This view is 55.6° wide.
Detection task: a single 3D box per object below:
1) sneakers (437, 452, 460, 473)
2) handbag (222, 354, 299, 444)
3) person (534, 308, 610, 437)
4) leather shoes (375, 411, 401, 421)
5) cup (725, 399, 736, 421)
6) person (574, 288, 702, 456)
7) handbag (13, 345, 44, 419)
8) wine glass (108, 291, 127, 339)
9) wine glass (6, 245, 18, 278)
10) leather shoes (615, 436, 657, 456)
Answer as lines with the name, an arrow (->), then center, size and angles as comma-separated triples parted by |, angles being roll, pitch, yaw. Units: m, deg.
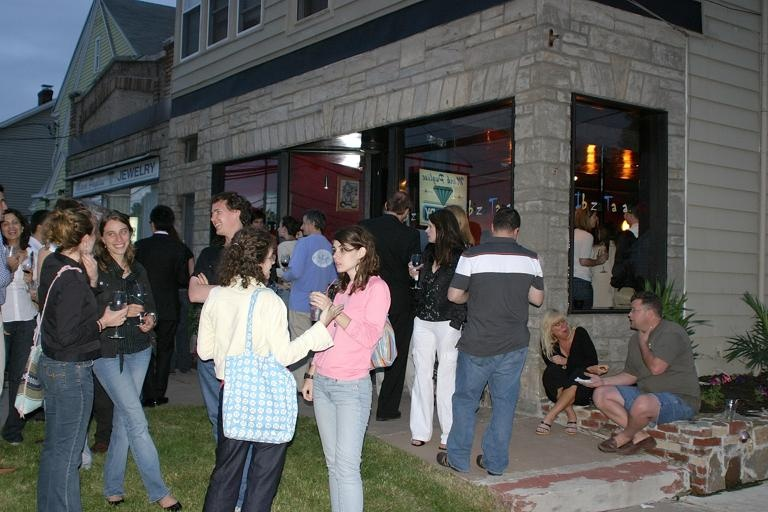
sneakers -> 0.738, 2.376, 8.374 | 0.131, 0.088, 0.325 | -19, 31, -33
handbag -> -1.135, 1.313, 6.643 | 0.788, 0.986, 0.363 | 1, -5, -7
person -> 2.406, 1.433, 9.398 | 0.886, 1.390, 1.339 | -8, 5, 25
leather shoes -> 0.074, 2.128, 9.735 | 0.280, 0.119, 0.117 | -2, -1, -20
cup -> 4.207, 1.875, 8.834 | 0.100, 0.186, 0.275 | 6, 12, 24
person -> 3.216, 1.469, 9.161 | 1.179, 1.937, 1.249 | -3, -3, 44
handbag -> -3.741, 1.306, 7.685 | 0.289, 0.977, 0.905 | 7, -16, -25
wine glass -> -2.710, 0.594, 7.432 | 0.181, 0.500, 0.324 | -5, 12, -25
wine glass -> -4.347, 0.075, 8.529 | 0.157, 0.352, 0.253 | 1, 11, -29
leather shoes -> 3.042, 2.272, 8.764 | 0.517, 0.198, 0.178 | -7, -5, -9
